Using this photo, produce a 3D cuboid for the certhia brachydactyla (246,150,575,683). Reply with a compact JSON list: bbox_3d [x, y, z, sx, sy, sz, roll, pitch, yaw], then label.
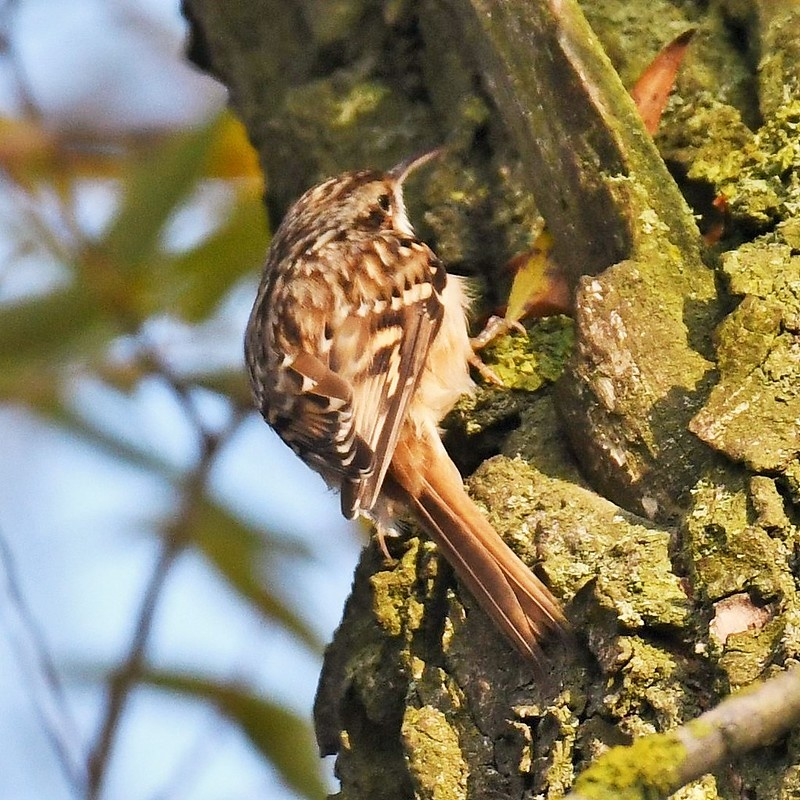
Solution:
[{"bbox_3d":[-0.090,-0.009,4.174,0.546,1.388,0.423,0,-38,-23],"label":"certhia brachydactyla"}]
